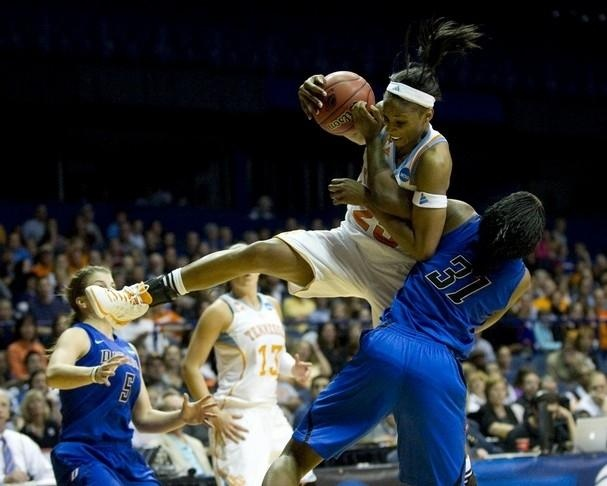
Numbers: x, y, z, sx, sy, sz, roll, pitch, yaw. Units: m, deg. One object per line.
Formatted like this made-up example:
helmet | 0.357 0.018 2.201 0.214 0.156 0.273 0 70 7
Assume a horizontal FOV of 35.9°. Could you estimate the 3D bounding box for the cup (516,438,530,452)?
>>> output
cup | 2.751 2.532 11.752 0.164 0.148 0.162 0 -5 0
